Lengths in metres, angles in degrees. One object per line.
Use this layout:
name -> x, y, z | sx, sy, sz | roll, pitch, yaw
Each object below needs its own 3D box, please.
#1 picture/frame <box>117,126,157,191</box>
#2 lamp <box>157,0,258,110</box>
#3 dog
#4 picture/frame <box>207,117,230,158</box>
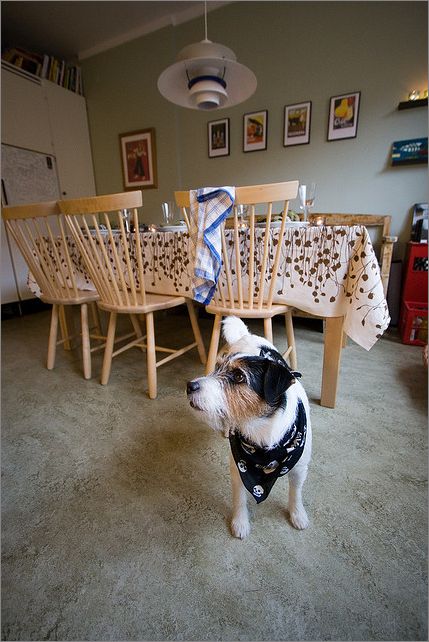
picture/frame -> -0.821, -1.754, 3.620 | 0.523, 0.613, 0.054 | 8, 16, 35
lamp -> -0.031, -1.061, 1.458 | 0.415, 0.198, 0.410 | -4, 14, -8
dog -> 0.106, 0.260, 0.849 | 0.225, 0.463, 0.584 | 2, 14, 7
picture/frame -> 0.036, -1.749, 3.121 | 0.296, 0.465, 0.033 | 9, 16, 33
